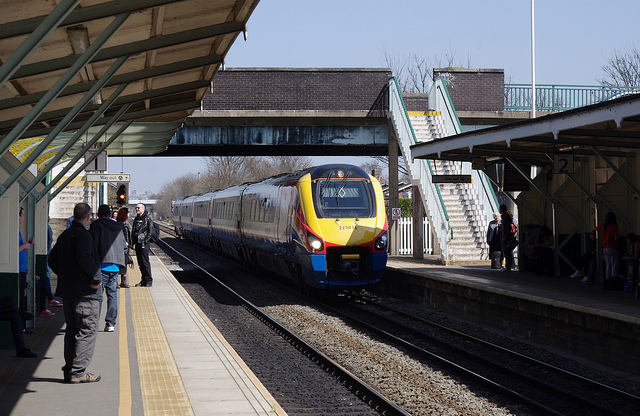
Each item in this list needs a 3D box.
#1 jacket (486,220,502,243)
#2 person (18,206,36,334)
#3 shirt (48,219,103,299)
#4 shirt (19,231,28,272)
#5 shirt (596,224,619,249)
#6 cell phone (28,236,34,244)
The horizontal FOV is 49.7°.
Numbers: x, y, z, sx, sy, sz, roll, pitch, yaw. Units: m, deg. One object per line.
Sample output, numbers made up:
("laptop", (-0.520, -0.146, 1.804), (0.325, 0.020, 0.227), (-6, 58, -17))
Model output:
("jacket", (5.709, 0.745, 22.782), (0.330, 0.650, 0.459), (13, -3, -33))
("person", (-5.901, 1.219, 13.727), (0.289, 1.632, 1.094), (3, 2, -22))
("shirt", (-3.977, 0.860, 11.233), (0.644, 1.501, 0.648), (0, -1, -16))
("shirt", (-5.994, 0.894, 13.877), (0.153, 0.832, 0.779), (4, 2, -20))
("shirt", (7.182, 0.664, 17.178), (0.528, 0.594, 0.329), (5, 16, 40))
("cell phone", (-5.721, 0.616, 13.606), (0.073, 0.139, 0.037), (-11, -24, 23))
